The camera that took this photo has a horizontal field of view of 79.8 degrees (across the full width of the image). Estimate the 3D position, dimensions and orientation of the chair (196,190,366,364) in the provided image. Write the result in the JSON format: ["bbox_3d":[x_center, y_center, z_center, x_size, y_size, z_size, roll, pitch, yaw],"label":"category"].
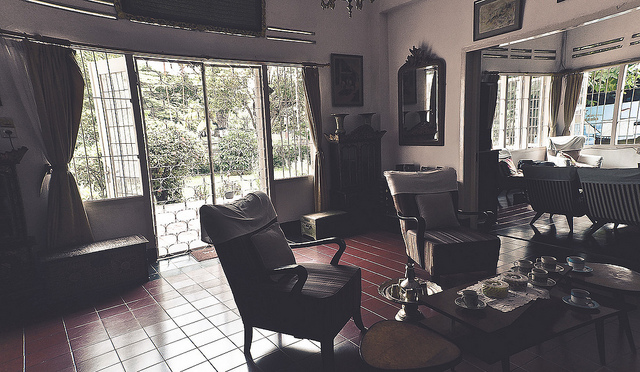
[{"bbox_3d":[-0.425,0.966,5.772,2.496,2.219,1.833,3,10,23],"label":"chair"}]

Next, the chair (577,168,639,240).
[{"bbox_3d":[4.813,0.201,6.362,0.892,0.920,1.037,4,10,43],"label":"chair"}]

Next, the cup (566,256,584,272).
[{"bbox_3d":[3.377,1.034,5.040,0.195,0.115,0.178,-3,5,0],"label":"cup"}]

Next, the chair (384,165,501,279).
[{"bbox_3d":[1.966,0.508,6.490,1.719,1.822,1.856,-4,2,-20],"label":"chair"}]

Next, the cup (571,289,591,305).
[{"bbox_3d":[3.124,1.335,4.580,0.164,0.128,0.203,-3,1,19],"label":"cup"}]

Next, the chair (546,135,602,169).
[{"bbox_3d":[6.809,-0.902,10.278,1.233,0.798,1.176,1,12,29],"label":"chair"}]

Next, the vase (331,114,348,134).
[{"bbox_3d":[0.413,-1.233,7.723,0.279,0.401,0.382,-5,11,4],"label":"vase"}]

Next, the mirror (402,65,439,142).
[{"bbox_3d":[1.980,-1.592,7.580,0.166,1.428,0.814,-17,16,-42],"label":"mirror"}]

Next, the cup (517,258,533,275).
[{"bbox_3d":[2.685,1.054,5.108,0.238,0.153,0.234,0,7,0],"label":"cup"}]

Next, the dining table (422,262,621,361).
[{"bbox_3d":[2.350,1.516,4.673,1.961,0.729,0.899,-6,11,-12],"label":"dining table"}]

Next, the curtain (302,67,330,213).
[{"bbox_3d":[-0.068,-0.880,7.605,0.315,2.842,0.409,-5,12,3],"label":"curtain"}]

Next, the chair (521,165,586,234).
[{"bbox_3d":[4.524,0.136,7.267,1.168,0.960,0.850,-8,5,-40],"label":"chair"}]

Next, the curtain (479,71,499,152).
[{"bbox_3d":[3.787,-1.697,8.588,0.318,1.753,1.340,0,12,27],"label":"curtain"}]
